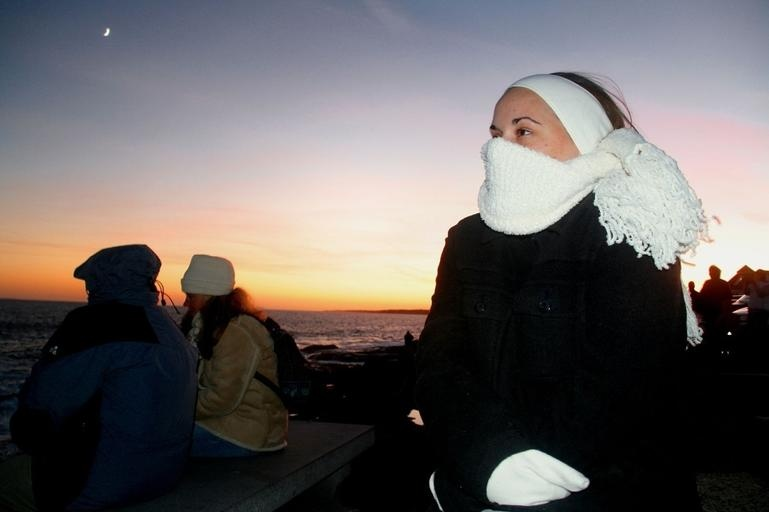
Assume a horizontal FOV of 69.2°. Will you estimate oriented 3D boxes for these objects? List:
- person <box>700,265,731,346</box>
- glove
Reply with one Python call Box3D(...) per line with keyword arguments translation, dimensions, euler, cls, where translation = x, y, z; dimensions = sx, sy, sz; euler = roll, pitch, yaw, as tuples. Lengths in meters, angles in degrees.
Box3D(translation=(7.811, 1.333, 13.237), dimensions=(0.686, 1.965, 0.565), euler=(5, 2, 30), cls="person")
Box3D(translation=(0.576, 0.863, 2.113), dimensions=(0.328, 0.226, 0.117), euler=(-24, -7, 7), cls="glove")
